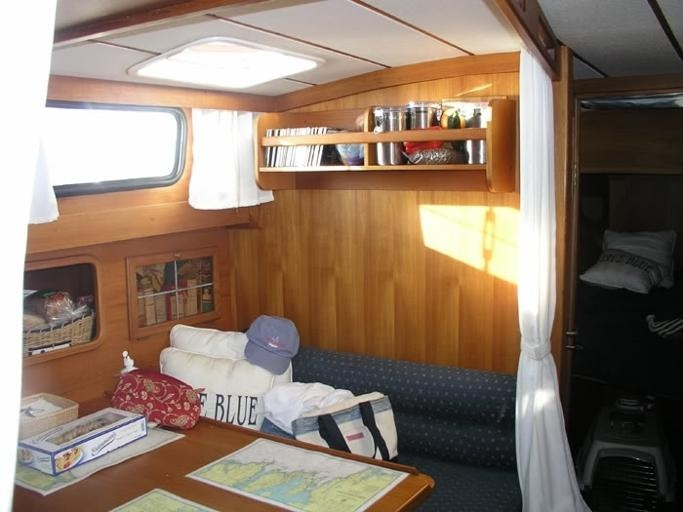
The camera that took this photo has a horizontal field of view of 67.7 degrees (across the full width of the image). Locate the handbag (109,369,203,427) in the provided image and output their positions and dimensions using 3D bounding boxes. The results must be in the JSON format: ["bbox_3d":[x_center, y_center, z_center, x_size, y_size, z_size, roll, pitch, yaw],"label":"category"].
[{"bbox_3d":[-0.990,0.778,2.760,0.433,0.101,0.271,13,38,17],"label":"handbag"}]

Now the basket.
[{"bbox_3d":[-1.660,0.398,2.985,0.147,0.327,0.433,12,15,41],"label":"basket"}]

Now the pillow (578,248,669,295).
[{"bbox_3d":[2.583,0.133,4.599,0.647,0.293,0.506,-8,15,-33],"label":"pillow"}]

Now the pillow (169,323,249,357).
[{"bbox_3d":[-0.885,0.554,3.374,0.374,0.103,0.230,5,49,1],"label":"pillow"}]
